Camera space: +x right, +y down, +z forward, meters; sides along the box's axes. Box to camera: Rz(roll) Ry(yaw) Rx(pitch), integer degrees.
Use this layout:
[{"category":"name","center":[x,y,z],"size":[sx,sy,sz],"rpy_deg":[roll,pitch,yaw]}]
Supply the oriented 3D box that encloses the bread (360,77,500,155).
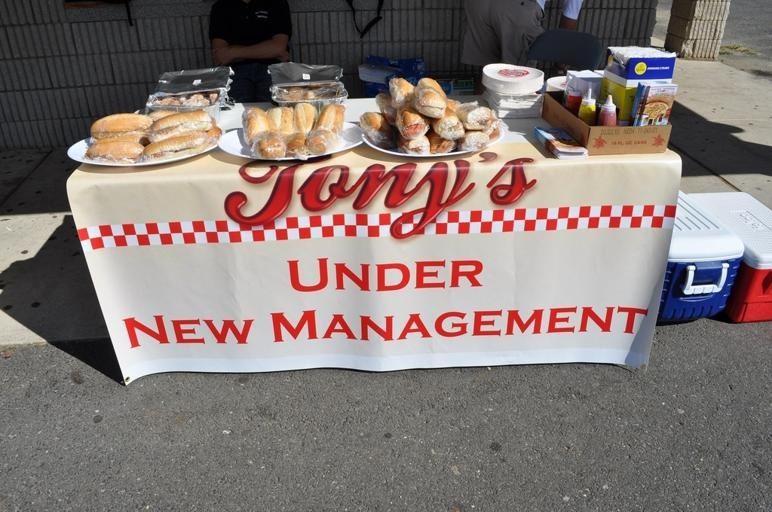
[{"category":"bread","center":[0.261,-0.806,3.400],"size":[0.849,0.370,0.421],"rpy_deg":[6,33,9]}]

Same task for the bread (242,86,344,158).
[{"category":"bread","center":[-0.547,-0.758,3.451],"size":[0.480,0.131,0.441],"rpy_deg":[-9,45,-5]}]

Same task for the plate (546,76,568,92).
[{"category":"plate","center":[1.138,-1.148,3.893],"size":[0.169,0.086,0.157],"rpy_deg":[0,29,3]}]

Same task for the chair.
[{"category":"chair","center":[1.611,-1.769,5.078],"size":[0.661,0.333,0.304],"rpy_deg":[27,41,36]}]
